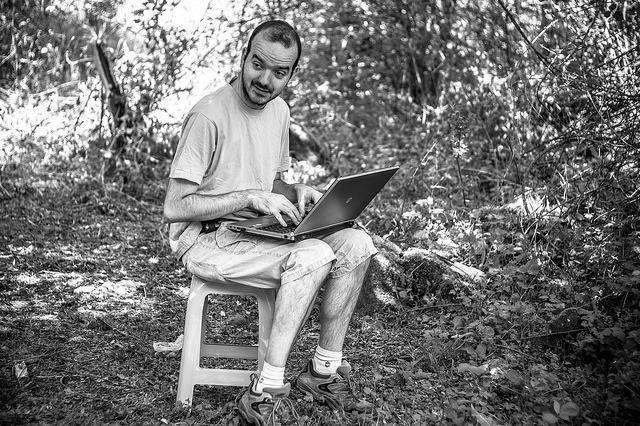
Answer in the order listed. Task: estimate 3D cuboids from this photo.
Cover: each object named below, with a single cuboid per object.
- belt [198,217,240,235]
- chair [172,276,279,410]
[{"bbox_3d":[-0.732,0.079,3.736,0.142,0.058,0.104,-14,5,8],"label":"belt"},{"bbox_3d":[-0.866,0.854,4.010,0.803,1.104,0.832,11,-5,-9],"label":"chair"}]
